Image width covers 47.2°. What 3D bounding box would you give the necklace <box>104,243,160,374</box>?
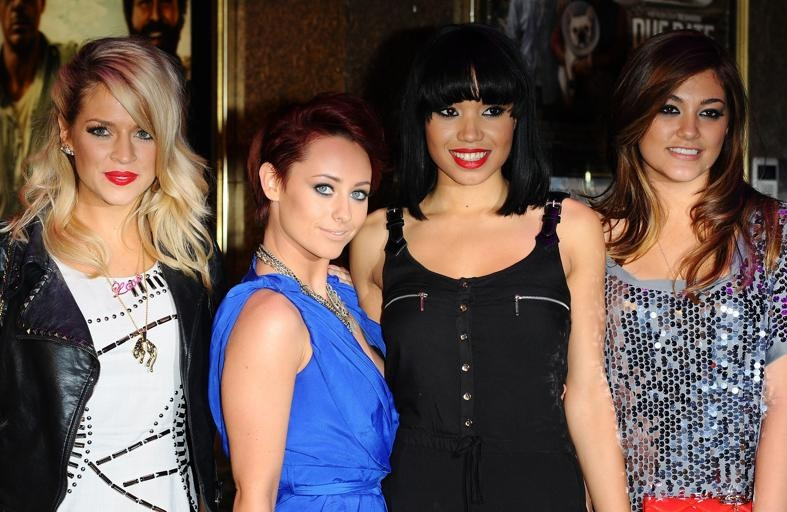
[{"bbox_3d":[-1.188,0.266,4.164,0.170,0.527,0.030,-12,-16,-24],"label":"necklace"}]
